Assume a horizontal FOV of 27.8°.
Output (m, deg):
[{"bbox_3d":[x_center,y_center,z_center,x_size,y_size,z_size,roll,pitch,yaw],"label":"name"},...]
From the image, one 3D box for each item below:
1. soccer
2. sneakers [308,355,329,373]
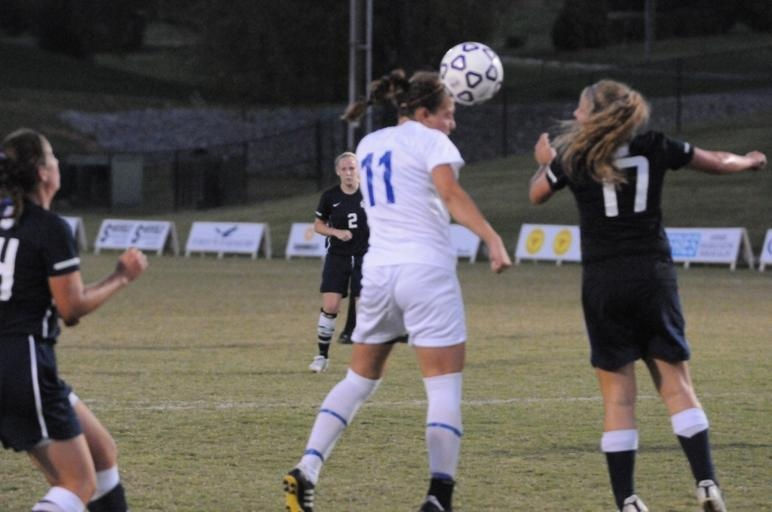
[{"bbox_3d":[1.256,-2.720,23.110,0.943,0.825,0.917,-21,22,-23],"label":"soccer"},{"bbox_3d":[-1.106,1.757,25.332,0.212,0.205,0.345,-2,-5,15],"label":"sneakers"}]
